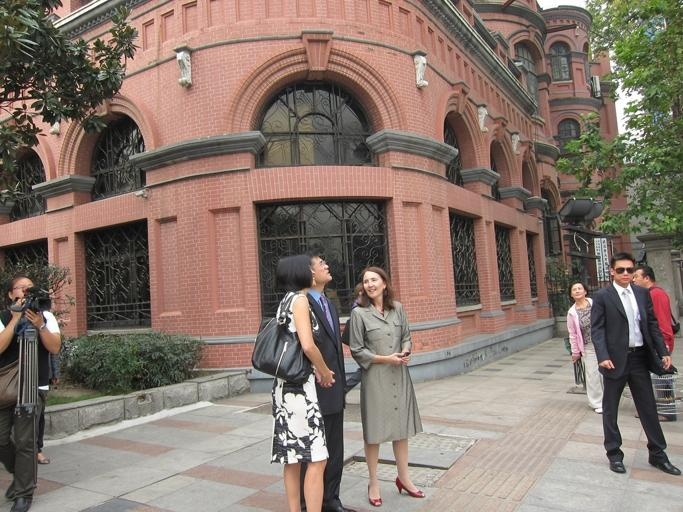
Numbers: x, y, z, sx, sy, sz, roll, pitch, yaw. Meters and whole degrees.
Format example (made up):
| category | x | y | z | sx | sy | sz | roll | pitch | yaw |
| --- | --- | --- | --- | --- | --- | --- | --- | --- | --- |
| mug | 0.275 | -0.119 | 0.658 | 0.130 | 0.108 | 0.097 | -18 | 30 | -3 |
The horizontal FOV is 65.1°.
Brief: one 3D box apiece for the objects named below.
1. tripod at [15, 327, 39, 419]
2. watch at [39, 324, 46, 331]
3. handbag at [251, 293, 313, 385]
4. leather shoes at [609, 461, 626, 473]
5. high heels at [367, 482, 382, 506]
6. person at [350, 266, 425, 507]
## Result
| category | x | y | z | sx | sy | sz | roll | pitch | yaw |
| --- | --- | --- | --- | --- | --- | --- | --- | --- | --- |
| tripod | -3.923 | 1.430 | 6.755 | 0.208 | 0.851 | 0.296 | -2 | 0 | 34 |
| watch | -3.781 | 0.918 | 6.802 | 0.053 | 0.069 | 0.062 | 20 | -61 | -29 |
| handbag | -0.620 | 0.871 | 5.663 | 0.577 | 0.855 | 0.284 | -2 | 0 | 14 |
| leather shoes | 3.594 | 2.756 | 6.984 | 0.087 | 0.101 | 0.223 | -1 | -9 | -10 |
| high heels | 0.393 | 2.885 | 6.410 | 0.096 | 0.119 | 0.288 | 2 | -8 | -16 |
| person | 0.537 | 1.542 | 6.524 | 0.843 | 2.732 | 0.505 | -1 | 0 | 0 |
